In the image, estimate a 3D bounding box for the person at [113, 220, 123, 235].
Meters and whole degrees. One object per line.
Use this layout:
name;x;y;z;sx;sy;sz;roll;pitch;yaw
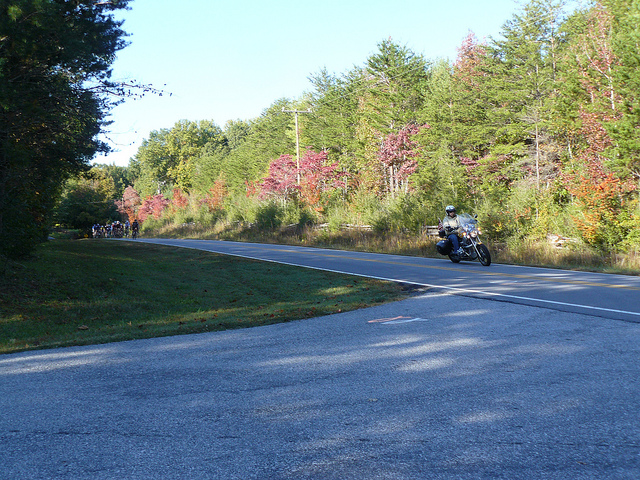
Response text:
person;-22.697;-1.310;65.870;0.609;1.328;1.177;-4;5;1

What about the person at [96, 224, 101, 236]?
person;-26.465;-1.236;69.973;0.514;1.345;0.403;4;-9;-9

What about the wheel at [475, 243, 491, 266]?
wheel;5.940;0.539;21.093;0.332;0.746;0.612;-5;5;-14

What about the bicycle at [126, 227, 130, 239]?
bicycle;-21.436;-0.852;65.097;0.294;1.108;0.903;-5;5;-12

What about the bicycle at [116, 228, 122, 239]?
bicycle;-22.519;-0.788;65.752;0.320;0.871;0.781;-4;5;2

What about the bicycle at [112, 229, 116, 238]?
bicycle;-23.053;-0.775;65.751;0.340;0.876;0.962;-6;5;-19
